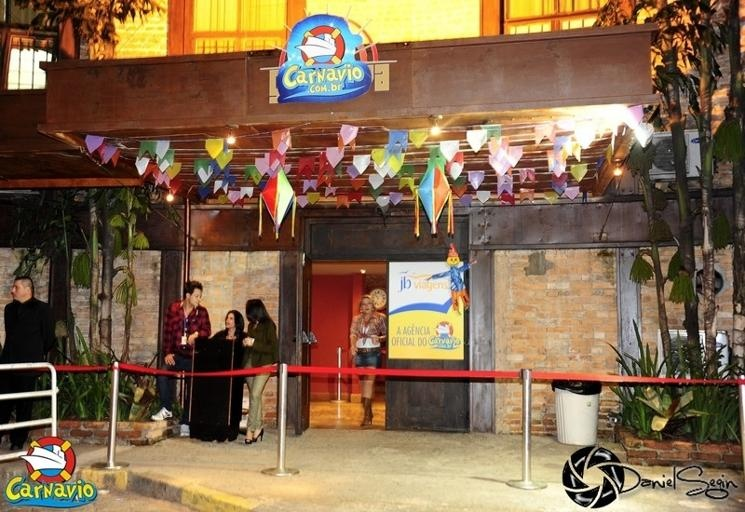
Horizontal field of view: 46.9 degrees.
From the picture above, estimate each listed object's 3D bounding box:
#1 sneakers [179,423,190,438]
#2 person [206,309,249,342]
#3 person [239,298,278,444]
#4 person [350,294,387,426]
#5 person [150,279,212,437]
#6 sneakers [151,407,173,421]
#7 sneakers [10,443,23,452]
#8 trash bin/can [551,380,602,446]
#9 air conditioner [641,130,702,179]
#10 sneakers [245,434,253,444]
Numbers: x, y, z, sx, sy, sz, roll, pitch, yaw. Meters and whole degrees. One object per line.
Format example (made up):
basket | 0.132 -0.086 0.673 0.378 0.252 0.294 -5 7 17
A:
sneakers | -2.958 2.772 13.554 0.150 0.159 0.186 1 -21 -1
person | -2.226 1.147 13.453 0.829 0.516 0.372 1 -23 13
person | -1.739 1.764 13.218 0.515 2.178 0.838 1 -5 -27
person | -0.077 1.867 15.549 0.624 2.265 1.517 -1 -4 -2
person | -3.042 1.636 13.699 0.892 2.429 1.164 0 -4 -10
sneakers | -3.278 2.493 13.380 0.130 0.160 0.342 -2 -11 24
sneakers | -5.008 2.717 12.111 0.152 0.093 0.230 3 -3 -22
trash bin/can | 3.162 2.448 13.263 0.869 1.101 0.861 0 -8 1
air conditioner | 4.731 -1.602 13.566 0.883 0.715 0.507 2 -23 10
sneakers | -1.868 2.782 13.002 0.109 0.119 0.104 0 -4 -8
